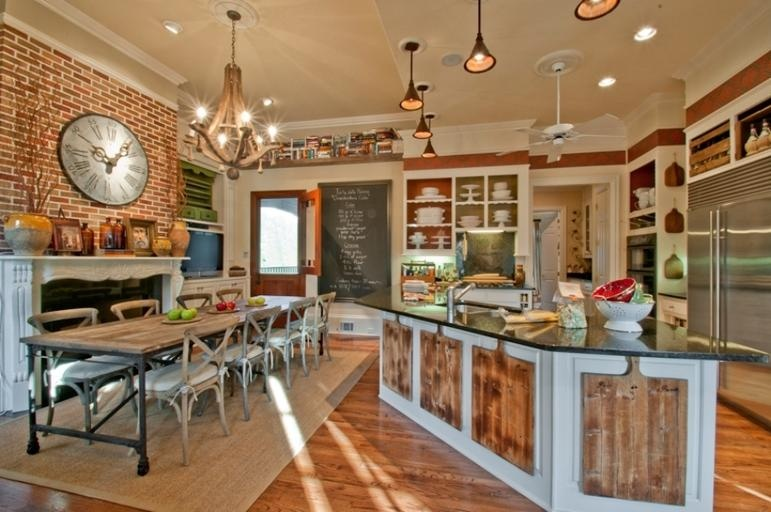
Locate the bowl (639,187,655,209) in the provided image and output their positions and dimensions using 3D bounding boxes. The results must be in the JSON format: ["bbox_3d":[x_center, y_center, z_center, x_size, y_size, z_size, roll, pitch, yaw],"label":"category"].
[{"bbox_3d":[3.489,-0.802,7.279,0.284,0.266,0.175,-2,0,7],"label":"bowl"}]

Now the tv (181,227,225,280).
[{"bbox_3d":[-2.735,-0.043,7.972,0.213,0.715,0.873,1,0,19],"label":"tv"}]

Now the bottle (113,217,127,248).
[{"bbox_3d":[-3.211,-0.267,6.498,0.134,0.386,0.196,1,-1,-26],"label":"bottle"}]

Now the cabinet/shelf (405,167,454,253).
[{"bbox_3d":[0.669,-0.644,8.142,0.720,1.108,0.383,1,-1,1],"label":"cabinet/shelf"}]

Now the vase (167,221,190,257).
[{"bbox_3d":[-2.713,-0.231,7.022,0.232,0.486,0.267,1,-1,-22],"label":"vase"}]

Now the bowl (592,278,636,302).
[{"bbox_3d":[2.042,0.309,4.752,0.361,0.193,0.177,0,-1,19],"label":"bowl"}]

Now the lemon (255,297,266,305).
[{"bbox_3d":[-1.524,0.554,6.574,0.091,0.099,0.087,-3,-8,1],"label":"lemon"}]

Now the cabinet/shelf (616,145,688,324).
[{"bbox_3d":[3.687,-0.287,7.130,0.462,2.300,1.449,1,-1,1],"label":"cabinet/shelf"}]

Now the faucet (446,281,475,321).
[{"bbox_3d":[0.732,0.460,5.278,0.230,0.342,0.566,0,-1,7],"label":"faucet"}]

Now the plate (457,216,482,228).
[{"bbox_3d":[1.262,-0.506,7.985,0.219,0.089,0.221,-2,-2,33],"label":"plate"}]

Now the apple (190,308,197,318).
[{"bbox_3d":[-2.046,0.612,5.700,0.074,0.072,0.079,-3,-5,26],"label":"apple"}]

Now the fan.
[{"bbox_3d":[1.983,-1.698,6.418,1.249,1.014,1.202,10,-21,-23],"label":"fan"}]

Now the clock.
[{"bbox_3d":[-3.402,-1.147,6.353,0.101,1.073,1.137,-1,-13,32],"label":"clock"}]

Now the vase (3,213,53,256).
[{"bbox_3d":[-3.686,-0.205,5.716,0.519,0.443,0.430,0,-5,-5],"label":"vase"}]

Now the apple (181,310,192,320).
[{"bbox_3d":[-2.069,0.620,5.608,0.099,0.088,0.094,0,-4,9],"label":"apple"}]

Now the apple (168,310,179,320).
[{"bbox_3d":[-2.195,0.615,5.568,0.104,0.097,0.099,4,10,2],"label":"apple"}]

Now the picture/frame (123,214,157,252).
[{"bbox_3d":[-3.077,-0.280,6.685,0.085,0.567,0.515,-7,-3,23],"label":"picture/frame"}]

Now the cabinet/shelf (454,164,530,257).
[{"bbox_3d":[1.623,-0.738,7.947,1.478,1.570,0.490,-1,-4,15],"label":"cabinet/shelf"}]
